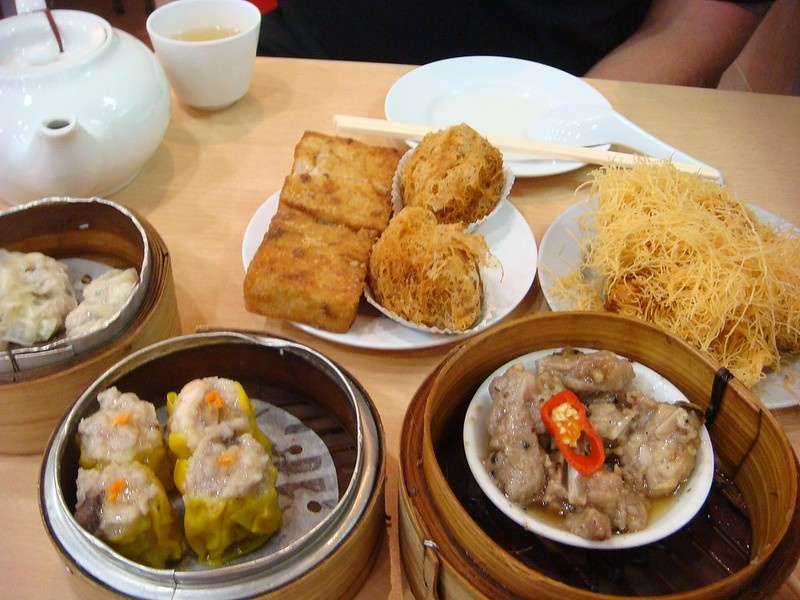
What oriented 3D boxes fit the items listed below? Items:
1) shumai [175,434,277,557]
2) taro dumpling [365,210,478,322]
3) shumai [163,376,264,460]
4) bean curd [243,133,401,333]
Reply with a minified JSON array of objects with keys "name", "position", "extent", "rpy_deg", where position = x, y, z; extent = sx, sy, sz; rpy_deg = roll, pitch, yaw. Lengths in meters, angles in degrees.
[{"name":"shumai","position":[-0.348,0.400,1.392],"extent":[0.221,0.226,0.215],"rpy_deg":[-16,37,-15]},{"name":"taro dumpling","position":[0.072,-0.088,1.715],"extent":[0.305,0.135,0.290],"rpy_deg":[14,61,8]},{"name":"shumai","position":[-0.420,0.236,1.367],"extent":[0.153,0.070,0.196],"rpy_deg":[-6,46,-15]},{"name":"bean curd","position":[-0.220,-0.204,1.827],"extent":[0.425,0.555,0.405],"rpy_deg":[-21,29,-39]}]
